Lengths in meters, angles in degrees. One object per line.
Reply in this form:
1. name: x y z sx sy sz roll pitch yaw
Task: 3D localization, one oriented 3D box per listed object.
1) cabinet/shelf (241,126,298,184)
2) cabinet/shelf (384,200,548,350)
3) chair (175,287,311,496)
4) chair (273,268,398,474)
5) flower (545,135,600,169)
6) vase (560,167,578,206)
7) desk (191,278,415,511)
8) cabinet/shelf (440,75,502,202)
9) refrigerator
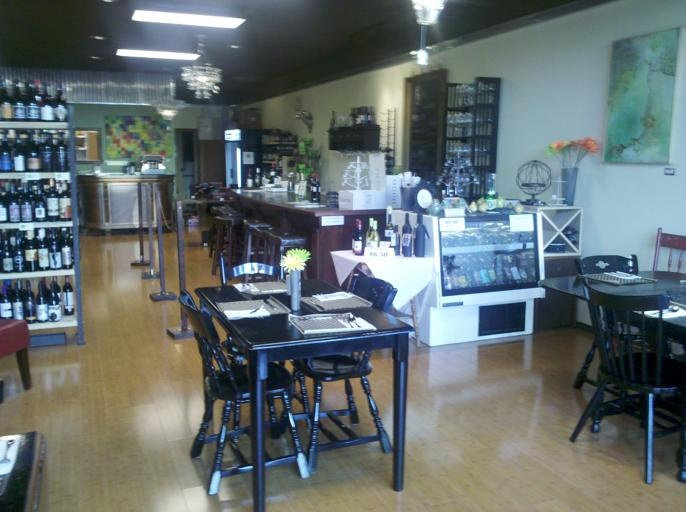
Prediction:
1. cabinet/shelf: -1.767 -2.401 12.827 0.598 1.746 1.842 -8 15 -39
2. cabinet/shelf: 1.302 0.163 5.896 1.716 1.724 1.271 -3 5 -24
3. chair: -0.747 0.771 3.957 1.128 1.592 1.048 -3 10 -19
4. chair: 0.084 0.705 4.218 1.087 1.548 1.111 -2 8 -18
5. flower: 2.540 -1.149 5.873 0.364 0.255 0.366 -5 10 -13
6. vase: 2.509 -0.775 5.941 0.170 0.411 0.241 6 15 22
7. desk: -0.265 1.077 3.571 1.026 1.149 1.807 -4 11 -22
8. cabinet/shelf: 1.672 -1.532 6.997 0.696 1.540 1.905 3 14 10
9. refrigerator: -1.924 -2.356 12.823 1.141 1.238 2.245 0 5 -13
